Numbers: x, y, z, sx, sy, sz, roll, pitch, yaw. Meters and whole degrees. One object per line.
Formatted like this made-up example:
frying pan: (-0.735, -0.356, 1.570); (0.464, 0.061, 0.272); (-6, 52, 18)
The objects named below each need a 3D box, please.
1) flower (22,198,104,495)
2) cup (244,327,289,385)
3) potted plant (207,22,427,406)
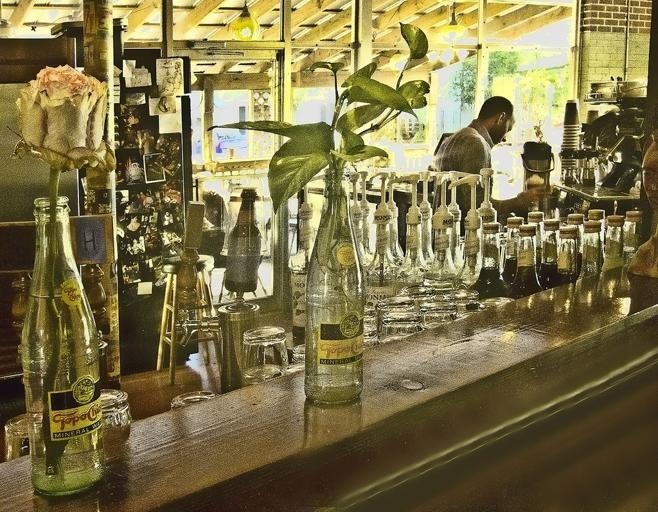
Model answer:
flower: (-0.382, 0.128, 0.939); (0.101, 0.406, 0.100); (-3, 2, -27)
cup: (-0.155, 0.241, 1.588); (0.115, 0.121, 0.116); (-1, 8, 0)
potted plant: (-0.007, -0.077, 1.135); (0.364, 0.672, 0.367); (-1, 6, 8)
